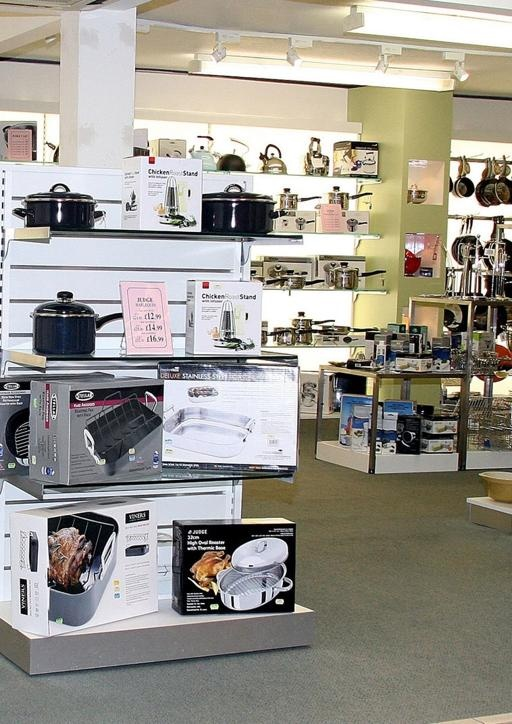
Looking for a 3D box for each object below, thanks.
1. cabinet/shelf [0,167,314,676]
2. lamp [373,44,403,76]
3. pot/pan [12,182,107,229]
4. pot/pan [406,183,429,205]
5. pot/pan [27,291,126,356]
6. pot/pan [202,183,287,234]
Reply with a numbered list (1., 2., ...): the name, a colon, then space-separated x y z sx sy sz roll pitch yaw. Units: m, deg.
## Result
1. cabinet/shelf: -0.301 0.113 2.226 0.963 1.445 0.736 5 1 -30
2. lamp: 1.059 -2.412 5.561 0.162 0.208 0.282 6 1 2
3. pot/pan: -0.590 -0.437 2.036 0.261 0.112 0.145 7 2 39
4. pot/pan: 1.729 -1.787 7.410 0.226 0.149 0.219 -8 13 -44
5. pot/pan: -0.530 -0.091 2.002 0.116 0.114 0.261 0 -2 18
6. pot/pan: -0.054 -0.465 2.157 0.204 0.109 0.158 0 3 -4
